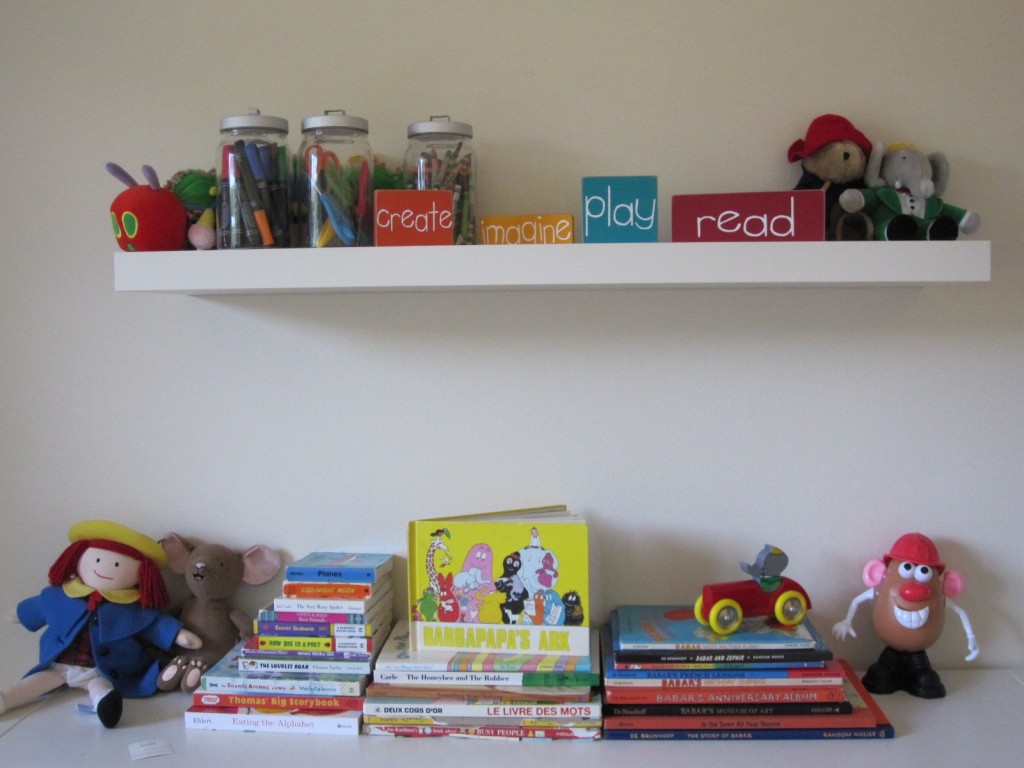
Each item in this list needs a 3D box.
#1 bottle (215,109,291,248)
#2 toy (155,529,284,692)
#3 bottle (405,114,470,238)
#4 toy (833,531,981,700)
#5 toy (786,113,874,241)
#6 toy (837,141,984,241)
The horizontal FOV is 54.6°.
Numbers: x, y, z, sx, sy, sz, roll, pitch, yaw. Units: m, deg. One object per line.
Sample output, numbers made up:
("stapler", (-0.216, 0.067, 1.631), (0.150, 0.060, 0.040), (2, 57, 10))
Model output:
("bottle", (-0.448, -0.324, 1.803), (0.145, 0.258, 0.144), (-5, -18, -2))
("toy", (-0.586, 0.433, 1.898), (0.249, 0.301, 0.174), (4, -2, 2))
("bottle", (-0.099, -0.370, 1.801), (0.171, 0.227, 0.118), (-9, 13, -40))
("toy", (0.733, 0.430, 1.835), (0.239, 0.295, 0.157), (4, -3, 11))
("toy", (0.593, -0.380, 1.854), (0.155, 0.232, 0.130), (0, 20, 9))
("toy", (0.728, -0.329, 1.821), (0.243, 0.214, 0.129), (5, -3, 11))
